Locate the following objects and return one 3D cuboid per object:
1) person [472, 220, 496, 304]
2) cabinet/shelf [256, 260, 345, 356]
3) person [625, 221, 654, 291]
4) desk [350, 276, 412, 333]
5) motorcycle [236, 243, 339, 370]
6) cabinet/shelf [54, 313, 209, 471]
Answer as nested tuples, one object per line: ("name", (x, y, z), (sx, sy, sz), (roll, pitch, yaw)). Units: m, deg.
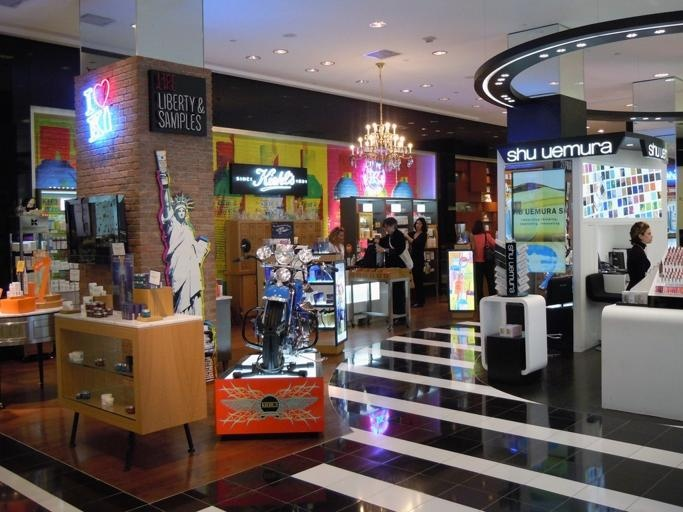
("person", (3.194, 0.124, 11.866), (0.478, 1.869, 1.055), (-1, 4, 14))
("cabinet/shelf", (-0.578, 0.371, 7.478), (1.109, 1.139, 1.924), (8, 20, 11))
("person", (4.323, -0.020, 7.648), (0.285, 0.943, 0.785), (0, 5, 29))
("desk", (0.741, 0.780, 10.196), (0.669, 1.061, 1.187), (1, -3, -43))
("motorcycle", (-0.581, 0.510, 5.542), (0.760, 1.263, 0.538), (-4, 4, -27))
("cabinet/shelf", (-2.035, 1.207, 5.088), (1.325, 1.204, 0.783), (1, 0, 38))
